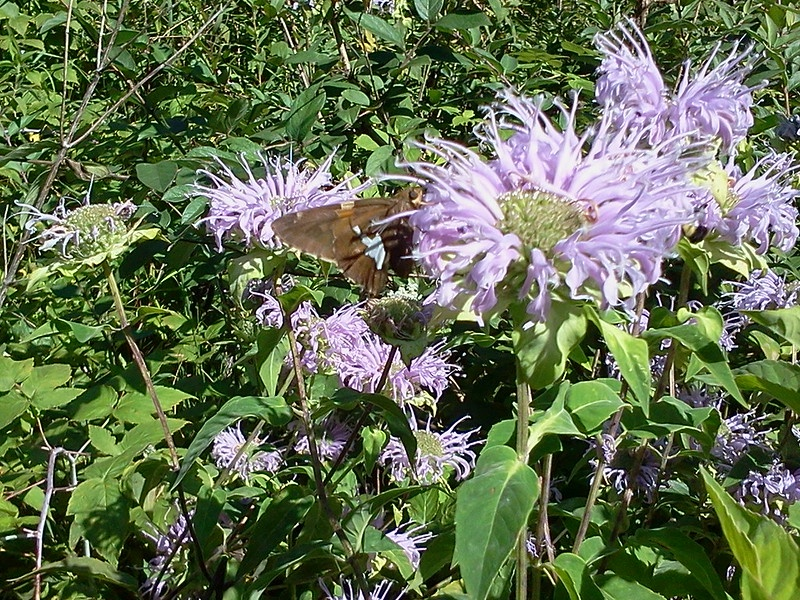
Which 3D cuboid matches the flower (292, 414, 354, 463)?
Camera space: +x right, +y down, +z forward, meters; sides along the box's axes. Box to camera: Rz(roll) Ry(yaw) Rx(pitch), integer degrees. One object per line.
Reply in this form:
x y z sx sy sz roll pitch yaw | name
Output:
-0.310 0.542 2.618 0.269 0.111 0.262 2 37 -6 | flower

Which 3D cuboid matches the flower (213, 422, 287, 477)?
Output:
-0.619 0.598 2.699 0.229 0.093 0.232 25 27 30 | flower

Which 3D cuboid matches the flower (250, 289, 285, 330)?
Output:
-0.512 0.029 2.596 0.112 0.146 0.121 -22 25 -36 | flower

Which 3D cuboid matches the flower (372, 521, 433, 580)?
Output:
0.025 0.925 2.559 0.083 0.207 0.212 -21 -8 20 | flower

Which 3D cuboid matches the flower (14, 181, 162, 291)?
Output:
-1.111 -0.170 2.378 0.407 0.183 0.409 15 36 22 | flower
